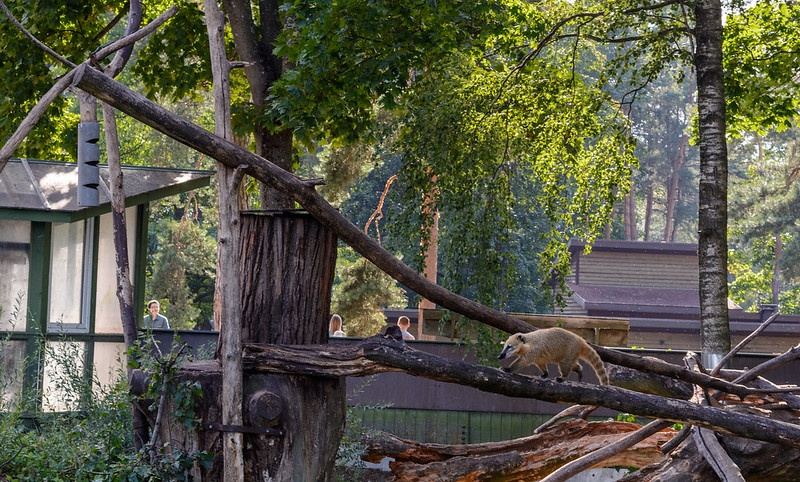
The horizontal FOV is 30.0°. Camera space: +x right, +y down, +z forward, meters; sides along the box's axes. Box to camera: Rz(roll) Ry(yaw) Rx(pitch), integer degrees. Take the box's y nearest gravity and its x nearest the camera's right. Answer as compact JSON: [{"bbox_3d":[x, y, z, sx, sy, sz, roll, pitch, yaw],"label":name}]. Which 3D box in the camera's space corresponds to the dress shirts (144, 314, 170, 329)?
[{"bbox_3d":[-6.907,2.264,42.079,0.780,0.601,0.423,1,-26,-5],"label":"dress shirts"}]
